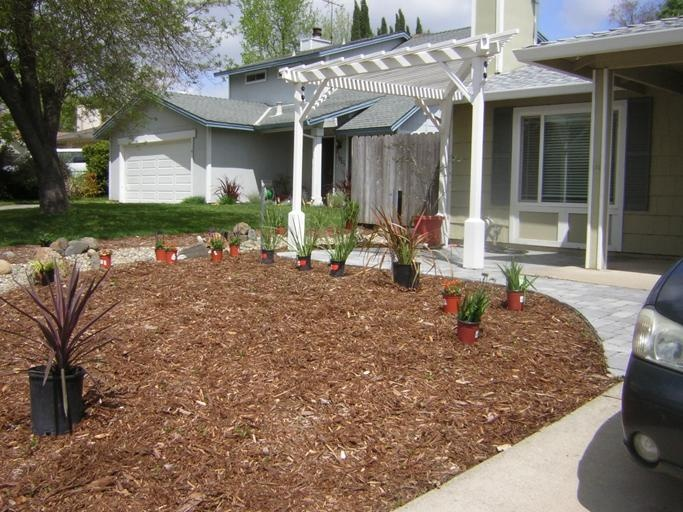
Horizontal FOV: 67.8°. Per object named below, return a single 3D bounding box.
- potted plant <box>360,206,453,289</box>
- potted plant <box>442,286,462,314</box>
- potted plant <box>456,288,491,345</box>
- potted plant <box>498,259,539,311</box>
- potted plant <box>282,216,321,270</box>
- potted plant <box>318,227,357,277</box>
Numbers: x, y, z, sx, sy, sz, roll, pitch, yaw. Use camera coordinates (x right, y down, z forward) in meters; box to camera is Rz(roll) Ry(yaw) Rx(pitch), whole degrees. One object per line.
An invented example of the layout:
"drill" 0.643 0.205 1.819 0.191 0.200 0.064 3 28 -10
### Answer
"potted plant" 0.660 0.006 5.823 0.760 0.836 0.873 -2 -6 22
"potted plant" 1.043 0.412 4.784 0.203 0.249 0.216 0 0 -2
"potted plant" 1.120 0.478 4.335 0.231 0.395 0.466 3 13 18
"potted plant" 1.798 0.297 5.193 0.210 0.488 0.369 5 14 26
"potted plant" -0.493 -0.123 6.943 0.392 0.700 0.357 2 -12 -24
"potted plant" -0.046 -0.006 6.388 0.351 0.588 0.340 0 6 -27
